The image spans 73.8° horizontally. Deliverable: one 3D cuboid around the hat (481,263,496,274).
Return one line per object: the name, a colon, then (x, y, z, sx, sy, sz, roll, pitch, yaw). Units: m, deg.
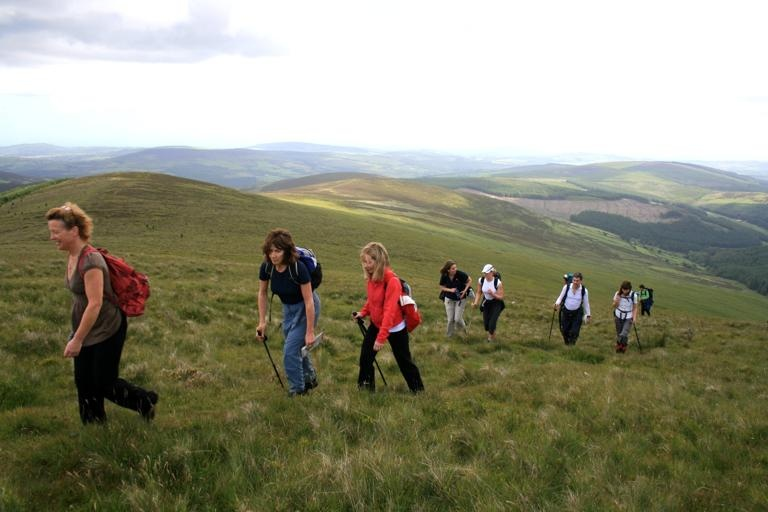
hat: (4.223, 0.515, 20.617, 0.408, 0.297, 0.605, -5, -6, 35)

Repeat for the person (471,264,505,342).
person: (4.243, 1.839, 20.770, 1.030, 2.917, 1.266, 2, 8, -8)
